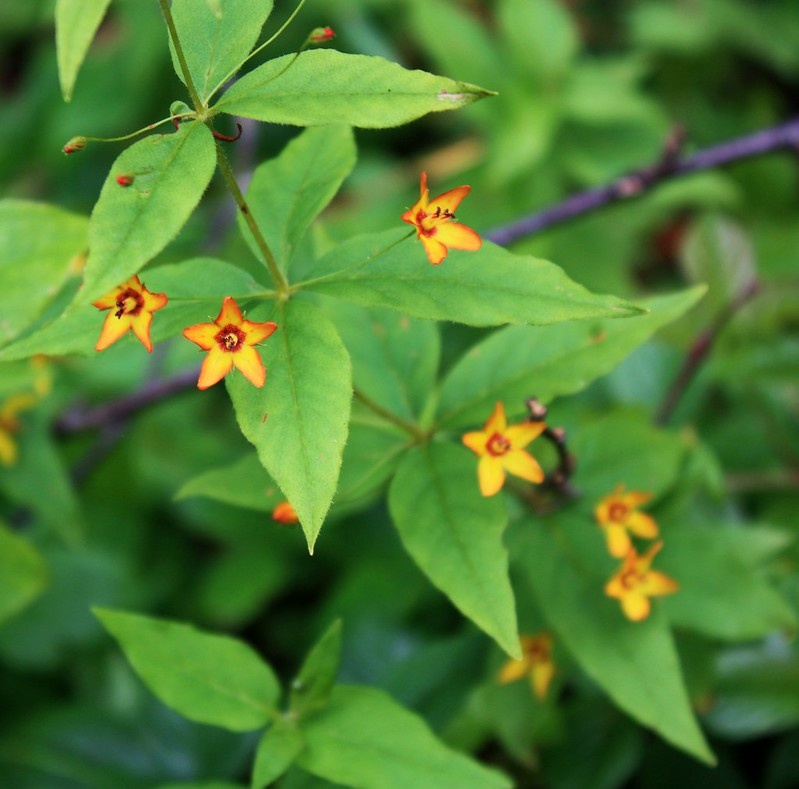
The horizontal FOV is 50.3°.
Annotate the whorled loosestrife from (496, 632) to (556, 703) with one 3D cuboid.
[{"bbox_3d":[0.290,0.618,1.940,0.127,0.219,0.093,-6,50,-4],"label":"whorled loosestrife"}]

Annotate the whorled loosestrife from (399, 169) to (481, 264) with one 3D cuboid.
[{"bbox_3d":[0.071,-0.301,1.417,0.128,0.105,0.144,-2,50,0],"label":"whorled loosestrife"}]

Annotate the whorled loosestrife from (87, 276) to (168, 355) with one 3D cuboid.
[{"bbox_3d":[-0.460,-0.160,1.436,0.146,0.057,0.134,24,99,25],"label":"whorled loosestrife"}]

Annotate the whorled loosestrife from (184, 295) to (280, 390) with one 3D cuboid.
[{"bbox_3d":[-0.269,-0.083,1.356,0.147,0.108,0.122,-9,50,-6],"label":"whorled loosestrife"}]

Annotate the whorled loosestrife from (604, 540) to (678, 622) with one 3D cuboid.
[{"bbox_3d":[0.450,0.352,1.617,0.137,0.168,0.080,-10,14,-22],"label":"whorled loosestrife"}]

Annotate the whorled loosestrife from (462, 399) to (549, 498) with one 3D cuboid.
[{"bbox_3d":[0.190,0.099,1.480,0.152,0.142,0.139,-14,51,-10],"label":"whorled loosestrife"}]
